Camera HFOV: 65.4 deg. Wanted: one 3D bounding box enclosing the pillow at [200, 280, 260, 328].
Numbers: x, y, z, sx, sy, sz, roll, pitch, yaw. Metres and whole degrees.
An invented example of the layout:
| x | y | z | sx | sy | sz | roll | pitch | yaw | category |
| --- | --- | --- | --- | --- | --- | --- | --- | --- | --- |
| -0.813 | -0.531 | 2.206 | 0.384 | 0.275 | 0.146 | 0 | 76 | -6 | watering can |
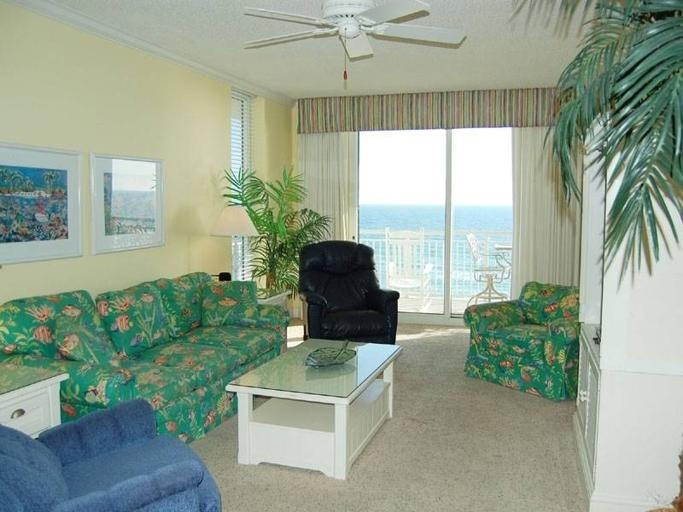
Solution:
| x | y | z | sx | sy | sz | roll | pitch | yaw | category |
| --- | --- | --- | --- | --- | --- | --- | --- | --- | --- |
| -1.034 | 0.399 | 4.764 | 0.401 | 0.415 | 0.128 | 0 | -24 | -12 | pillow |

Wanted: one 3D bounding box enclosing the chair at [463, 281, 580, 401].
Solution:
| x | y | z | sx | sy | sz | roll | pitch | yaw | category |
| --- | --- | --- | --- | --- | --- | --- | --- | --- | --- |
| 1.668 | 0.707 | 4.748 | 1.021 | 0.882 | 1.048 | 4 | 5 | 14 | chair |

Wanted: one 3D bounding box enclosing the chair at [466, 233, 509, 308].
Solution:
| x | y | z | sx | sy | sz | roll | pitch | yaw | category |
| --- | --- | --- | --- | --- | --- | --- | --- | --- | --- |
| 2.092 | 0.274 | 7.500 | 0.651 | 0.995 | 0.565 | 1 | 0 | 27 | chair |

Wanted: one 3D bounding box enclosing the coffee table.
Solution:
| x | y | z | sx | sy | sz | roll | pitch | yaw | category |
| --- | --- | --- | --- | --- | --- | --- | --- | --- | --- |
| -0.124 | 1.059 | 3.911 | 0.891 | 0.581 | 1.337 | 1 | 4 | 17 | coffee table |

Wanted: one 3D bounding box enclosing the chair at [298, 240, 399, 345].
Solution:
| x | y | z | sx | sy | sz | roll | pitch | yaw | category |
| --- | --- | --- | --- | --- | --- | --- | --- | --- | --- |
| 0.140 | 0.363 | 5.782 | 0.922 | 1.243 | 1.118 | 0 | -2 | -8 | chair |

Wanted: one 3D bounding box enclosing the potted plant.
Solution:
| x | y | z | sx | sy | sz | roll | pitch | yaw | category |
| --- | --- | --- | --- | --- | --- | --- | --- | --- | --- |
| -0.950 | -0.166 | 6.200 | 0.989 | 1.720 | 1.385 | 3 | 18 | 19 | potted plant |
